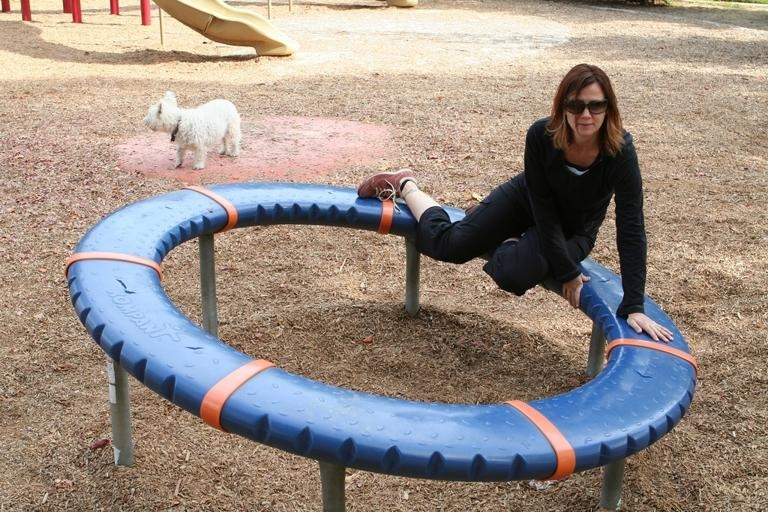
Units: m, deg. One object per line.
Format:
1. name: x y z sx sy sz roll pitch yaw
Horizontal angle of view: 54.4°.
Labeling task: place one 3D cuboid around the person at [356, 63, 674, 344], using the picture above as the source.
1. person: 0.988 -0.492 4.820 1.116 1.266 2.746 -2 19 -35

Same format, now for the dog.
1. dog: -1.782 -1.204 7.061 0.483 0.697 0.759 19 28 23
